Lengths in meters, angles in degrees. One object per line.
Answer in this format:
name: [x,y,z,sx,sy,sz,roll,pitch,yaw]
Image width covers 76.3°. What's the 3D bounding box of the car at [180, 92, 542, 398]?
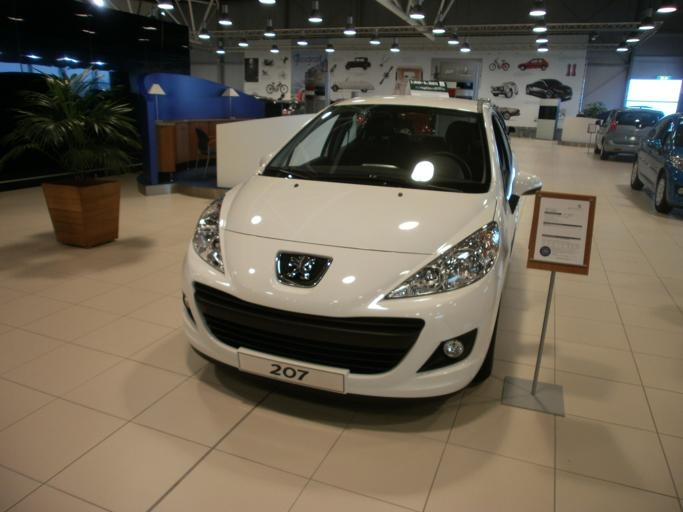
car: [0.284,-0.288,2.890,1.491,1.041,2.365,6,26,17]
